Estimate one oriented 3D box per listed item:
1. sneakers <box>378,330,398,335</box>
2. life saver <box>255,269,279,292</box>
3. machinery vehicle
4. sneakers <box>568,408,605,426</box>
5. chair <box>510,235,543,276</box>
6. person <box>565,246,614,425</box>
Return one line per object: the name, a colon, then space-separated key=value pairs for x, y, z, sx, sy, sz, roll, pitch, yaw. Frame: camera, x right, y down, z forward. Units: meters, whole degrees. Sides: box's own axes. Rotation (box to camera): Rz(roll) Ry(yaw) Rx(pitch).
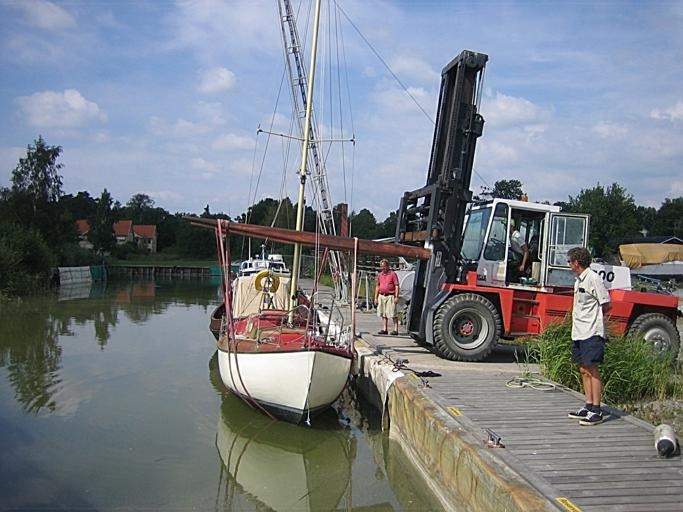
sneakers: x=1.239 y=2.040 z=15.274 sx=0.502 sy=0.154 sz=0.196 roll=7 pitch=-10 yaw=-18
life saver: x=-1.856 y=0.618 z=14.694 sx=0.546 sy=0.612 sz=0.134 roll=22 pitch=-7 yaw=-3
machinery vehicle: x=3.814 y=-0.971 z=16.451 sx=14.382 sy=10.064 sz=4.883 roll=2 pitch=1 yaw=-5
sneakers: x=3.736 y=2.455 z=8.844 sx=0.324 sy=0.142 sz=0.291 roll=5 pitch=-7 yaw=-17
chair: x=3.987 y=0.006 z=12.701 sx=0.498 sy=0.982 sz=0.851 roll=0 pitch=0 yaw=-9
person: x=3.727 y=1.222 z=8.866 sx=0.621 sy=2.648 sz=0.514 roll=6 pitch=7 yaw=34
